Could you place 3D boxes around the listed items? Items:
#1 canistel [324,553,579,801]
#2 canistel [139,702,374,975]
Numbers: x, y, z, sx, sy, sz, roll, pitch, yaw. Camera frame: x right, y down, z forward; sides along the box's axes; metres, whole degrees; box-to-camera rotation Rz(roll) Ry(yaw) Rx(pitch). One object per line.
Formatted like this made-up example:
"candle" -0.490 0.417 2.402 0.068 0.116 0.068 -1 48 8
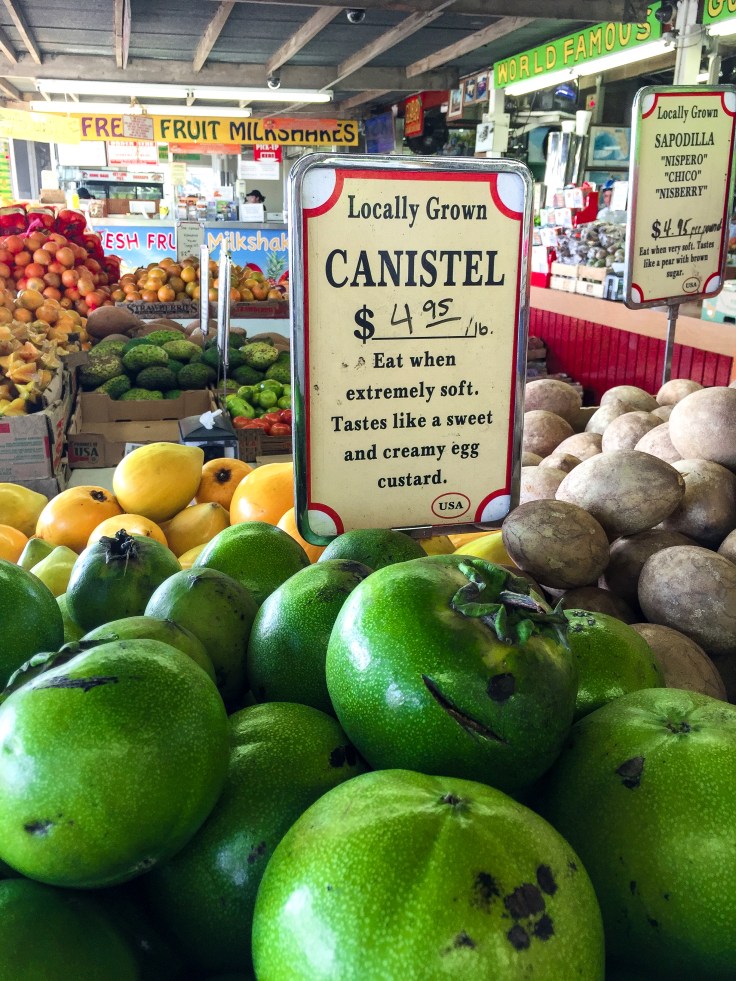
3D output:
"canistel" 0.071 0.172 0.672 0.197 0.176 0.201 -2 20 -35
"canistel" -0.098 0.321 0.787 0.212 0.239 0.206 -13 -12 8
